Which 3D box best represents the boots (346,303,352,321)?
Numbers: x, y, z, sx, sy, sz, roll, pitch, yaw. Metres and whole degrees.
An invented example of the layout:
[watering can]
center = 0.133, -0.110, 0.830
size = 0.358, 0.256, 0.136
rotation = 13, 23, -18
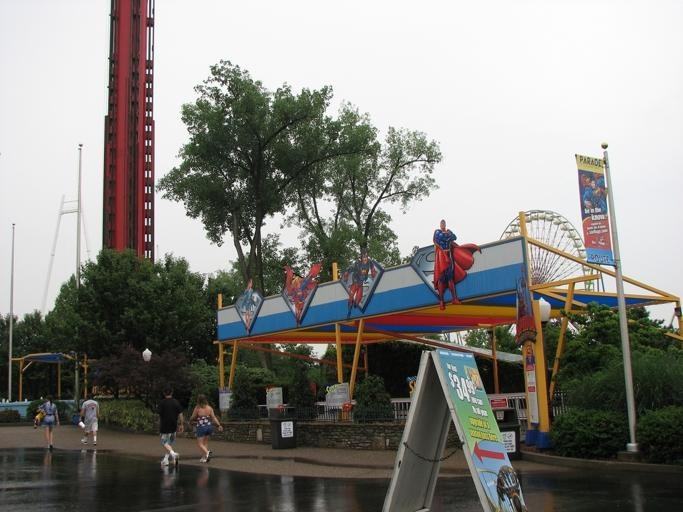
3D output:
[boots]
center = 0.322, 2.135, 30.042
size = 0.165, 0.606, 0.138
rotation = 9, -3, -37
